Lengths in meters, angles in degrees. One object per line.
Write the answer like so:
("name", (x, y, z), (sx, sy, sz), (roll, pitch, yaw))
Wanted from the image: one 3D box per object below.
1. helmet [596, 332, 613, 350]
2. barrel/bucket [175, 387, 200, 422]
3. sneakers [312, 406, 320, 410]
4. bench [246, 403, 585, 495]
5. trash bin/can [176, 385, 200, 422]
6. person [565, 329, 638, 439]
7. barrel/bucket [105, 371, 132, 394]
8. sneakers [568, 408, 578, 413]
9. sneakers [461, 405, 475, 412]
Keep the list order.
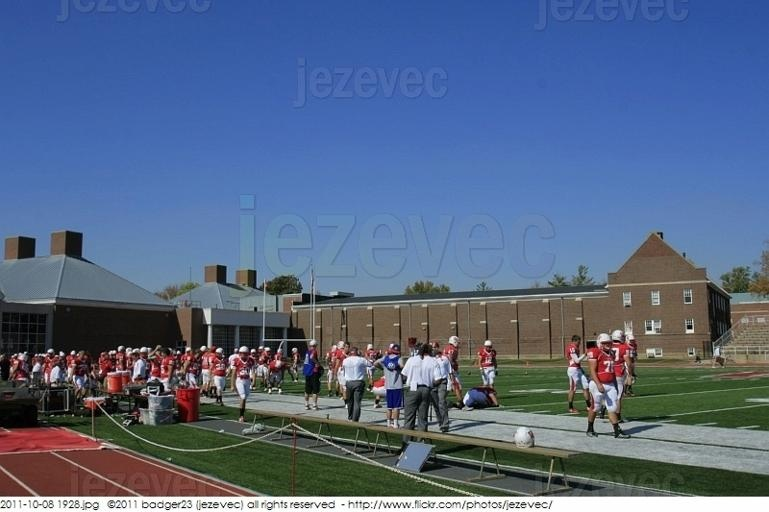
("helmet", (6.525, 2.541, 22.095), (0.378, 0.425, 0.489), (2, -9, -11))
("barrel/bucket", (-6.786, 5.298, 26.675), (1.056, 1.113, 1.013), (-5, -14, -1))
("sneakers", (-2.628, 5.909, 29.054), (0.107, 0.223, 0.313), (3, 2, 40))
("bench", (1.373, 5.228, 20.640), (9.100, 1.504, 3.220), (-7, -10, 39))
("trash bin/can", (-6.764, 5.264, 26.493), (1.035, 1.126, 1.021), (-3, -14, -8))
("person", (6.470, 3.808, 22.139), (1.034, 3.019, 1.198), (-2, -8, 14))
("barrel/bucket", (-11.336, 5.424, 32.083), (1.003, 0.998, 1.034), (0, -7, 0))
("sneakers", (6.646, 5.455, 26.366), (0.119, 0.143, 0.323), (3, -9, -37))
("sneakers", (3.035, 5.605, 27.469), (0.388, 0.271, 0.155), (-3, -5, 8))
